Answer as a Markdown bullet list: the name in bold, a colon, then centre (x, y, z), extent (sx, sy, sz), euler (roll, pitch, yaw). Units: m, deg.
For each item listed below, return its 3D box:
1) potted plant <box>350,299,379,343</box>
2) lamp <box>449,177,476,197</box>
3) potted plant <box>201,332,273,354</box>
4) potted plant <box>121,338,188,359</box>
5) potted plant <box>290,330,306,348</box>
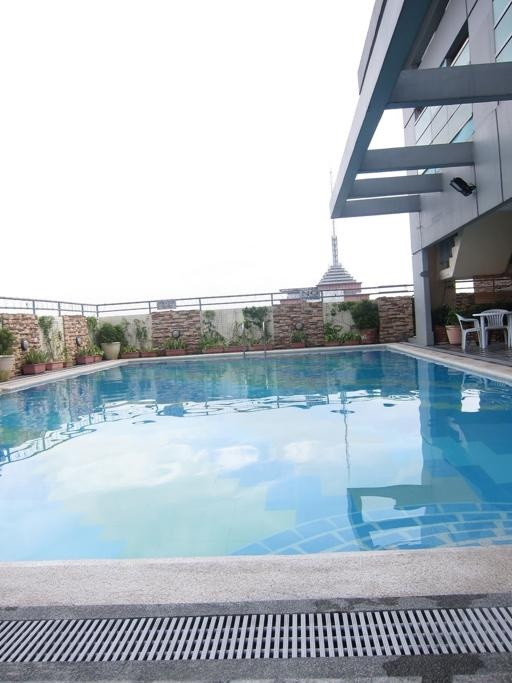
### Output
- **potted plant**: centre (3.915, -0.828, 16.239), extent (1.439, 1.977, 1.488), euler (-3, 5, 11)
- **lamp**: centre (4.056, -3.077, 8.190), extent (0.188, 0.446, 0.347), euler (-34, -14, -48)
- **potted plant**: centre (-0.746, 0.069, 15.959), extent (2.687, 0.550, 0.884), euler (-4, 3, 0)
- **potted plant**: centre (-3.812, 0.196, 16.073), extent (2.379, 0.667, 0.726), euler (-4, 4, -8)
- **potted plant**: centre (1.649, -0.089, 16.029), extent (0.588, 0.620, 0.572), euler (-3, 2, 25)
